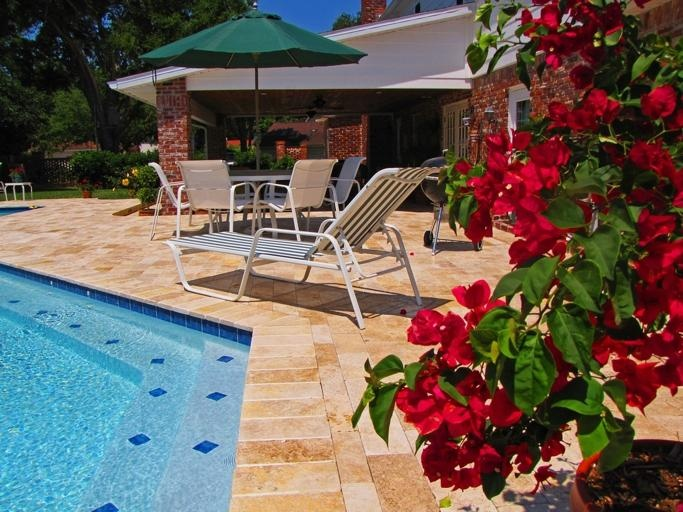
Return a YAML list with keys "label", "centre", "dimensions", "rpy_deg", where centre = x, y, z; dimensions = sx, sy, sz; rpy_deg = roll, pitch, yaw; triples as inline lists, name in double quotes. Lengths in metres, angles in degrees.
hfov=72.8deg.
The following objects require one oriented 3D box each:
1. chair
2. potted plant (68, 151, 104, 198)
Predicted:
- label: "chair"
  centre: [-0.840, -0.337, 5.361]
  dimensions: [3.452, 1.565, 1.562]
  rpy_deg: [6, 9, 27]
- label: "potted plant"
  centre: [-12.932, -4.399, 23.626]
  dimensions: [1.451, 1.842, 1.030]
  rpy_deg: [-6, 14, -24]
